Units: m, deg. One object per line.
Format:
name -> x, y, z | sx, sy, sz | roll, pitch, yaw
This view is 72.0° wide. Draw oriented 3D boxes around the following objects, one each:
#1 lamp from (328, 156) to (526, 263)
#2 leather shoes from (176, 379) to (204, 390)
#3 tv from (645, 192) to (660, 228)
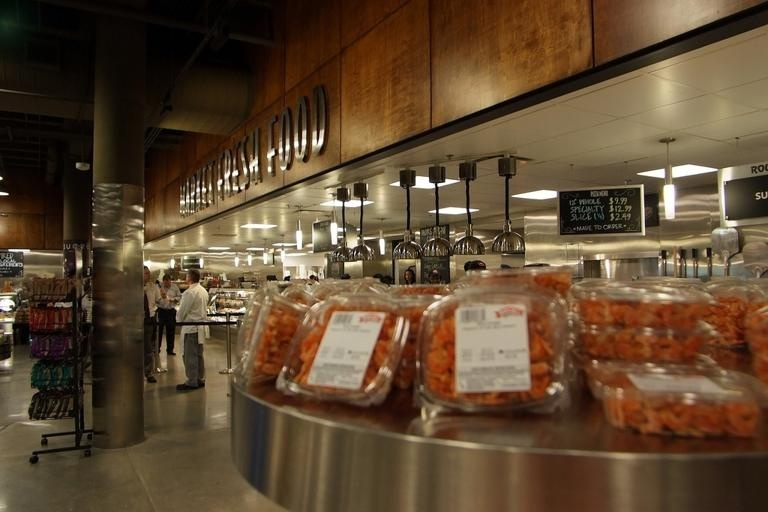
lamp -> 0.483, -0.545, 6.984 | 2.099, 1.106, 3.868 | -1, 1, -2
leather shoes -> -2.888, 1.921, 7.835 | 0.420, 0.175, 0.155 | 5, -4, -15
tv -> 4.123, -0.738, 8.170 | 0.222, 0.526, 0.146 | 0, 1, 41
